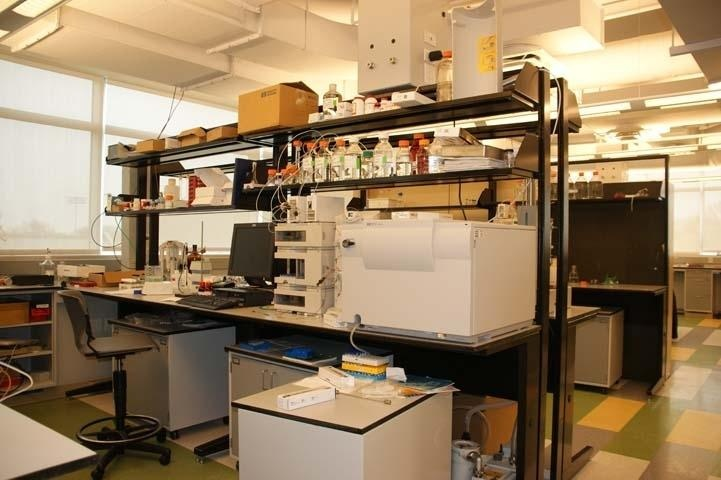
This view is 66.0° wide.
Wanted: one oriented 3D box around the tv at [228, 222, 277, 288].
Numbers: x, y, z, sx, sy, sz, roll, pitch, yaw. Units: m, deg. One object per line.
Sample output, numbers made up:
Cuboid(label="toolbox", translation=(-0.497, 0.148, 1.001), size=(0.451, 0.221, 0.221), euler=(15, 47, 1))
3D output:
Cuboid(label="tv", translation=(-0.875, 0.129, 4.630), size=(0.565, 0.542, 0.205), euler=(-2, -4, 40))

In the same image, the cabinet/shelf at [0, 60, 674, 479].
Cuboid(label="cabinet/shelf", translation=(-0.233, 0.266, 4.613), size=(4.009, 1.734, 2.951), euler=(-1, -3, 39))

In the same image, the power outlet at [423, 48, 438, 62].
Cuboid(label="power outlet", translation=(0.522, -1.299, 3.933), size=(0.114, 0.092, 0.065), euler=(2, 7, 7))

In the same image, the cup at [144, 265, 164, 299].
Cuboid(label="cup", translation=(-1.933, 0.385, 5.206), size=(0.252, 0.325, 0.247), euler=(1, -3, 0))

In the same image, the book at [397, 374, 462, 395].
Cuboid(label="book", translation=(0.415, 0.916, 3.419), size=(0.350, 0.076, 0.255), euler=(2, 7, 7))

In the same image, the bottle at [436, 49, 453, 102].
Cuboid(label="bottle", translation=(0.593, -1.136, 3.895), size=(0.097, 0.337, 0.213), euler=(1, 7, 3))

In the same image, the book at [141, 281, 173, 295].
Cuboid(label="book", translation=(-1.867, 0.454, 5.188), size=(0.210, 0.090, 0.156), euler=(1, 2, -37))
